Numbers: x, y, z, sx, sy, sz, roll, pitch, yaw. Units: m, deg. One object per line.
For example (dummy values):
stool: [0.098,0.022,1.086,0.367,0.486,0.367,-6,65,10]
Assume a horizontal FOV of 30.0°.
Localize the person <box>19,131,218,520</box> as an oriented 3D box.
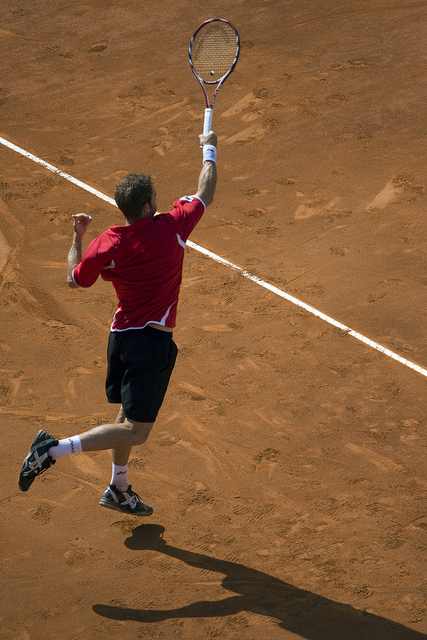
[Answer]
person: [-0.584,0.123,5.413,1.076,2.693,0.982,15,14,-4]
